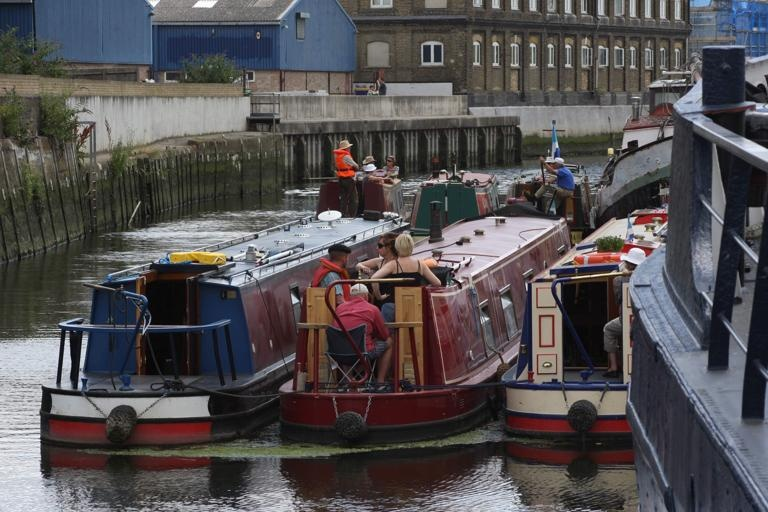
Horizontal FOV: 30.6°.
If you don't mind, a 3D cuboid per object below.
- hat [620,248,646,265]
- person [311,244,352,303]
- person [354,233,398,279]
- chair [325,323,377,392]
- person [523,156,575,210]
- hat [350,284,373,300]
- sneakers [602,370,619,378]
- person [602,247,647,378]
[{"bbox_3d":[3.578,0.021,20.306,0.365,0.142,0.439,12,14,22],"label":"hat"},{"bbox_3d":[-0.783,0.307,20.905,0.469,1.215,0.547,-9,16,-44],"label":"person"},{"bbox_3d":[-0.101,-0.012,21.226,0.655,0.753,0.505,-2,11,2],"label":"person"},{"bbox_3d":[-0.485,1.509,20.252,0.781,1.168,0.857,-4,7,-7],"label":"chair"},{"bbox_3d":[3.922,-1.671,32.410,1.222,1.788,0.853,2,7,16],"label":"person"},{"bbox_3d":[-0.260,0.539,20.244,0.237,0.204,0.417,3,-3,10],"label":"hat"},{"bbox_3d":[3.244,1.722,20.299,0.213,0.105,0.092,3,6,10],"label":"sneakers"},{"bbox_3d":[3.406,0.868,20.203,0.558,1.775,0.888,0,9,14],"label":"person"}]
